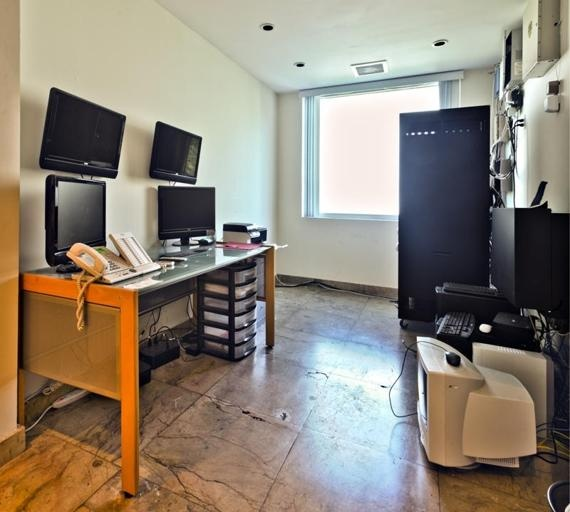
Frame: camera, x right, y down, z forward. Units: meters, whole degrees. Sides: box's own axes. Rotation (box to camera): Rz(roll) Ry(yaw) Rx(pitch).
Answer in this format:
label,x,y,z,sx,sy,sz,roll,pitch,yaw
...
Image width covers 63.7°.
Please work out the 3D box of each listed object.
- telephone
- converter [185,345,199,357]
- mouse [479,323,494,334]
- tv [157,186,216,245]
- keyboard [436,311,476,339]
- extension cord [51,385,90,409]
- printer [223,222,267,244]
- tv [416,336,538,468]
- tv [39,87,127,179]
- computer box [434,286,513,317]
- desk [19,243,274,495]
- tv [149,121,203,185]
label,x,y,z,sx,sy,sz,roll,pitch,yaw
telephone,-0.945,0.068,2.559,0.292,0.372,0.802,6,6,6
converter,-0.718,0.727,3.529,0.071,0.022,0.080,8,8,38
mouse,1.251,0.457,2.874,0.071,0.046,0.075,-4,10,-23
tv,-0.791,-0.322,3.580,0.151,0.394,0.397,4,6,39
keyboard,1.134,0.453,3.030,0.227,0.071,0.383,4,11,25
extension cord,-1.322,0.879,2.883,0.081,0.079,0.299,3,9,20
printer,-0.346,-0.183,3.923,0.370,0.184,0.305,-2,10,-9
tv,1.009,0.751,2.537,0.485,0.637,0.693,-1,-1,10
tv,-1.245,-0.741,2.780,0.109,0.588,0.612,11,8,19
computer box,1.316,0.303,3.234,0.291,0.157,0.225,4,5,32
desk,-0.796,0.483,3.266,0.808,1.073,1.886,6,11,19
tv,-0.876,-0.808,3.598,0.067,0.492,0.516,14,9,25
